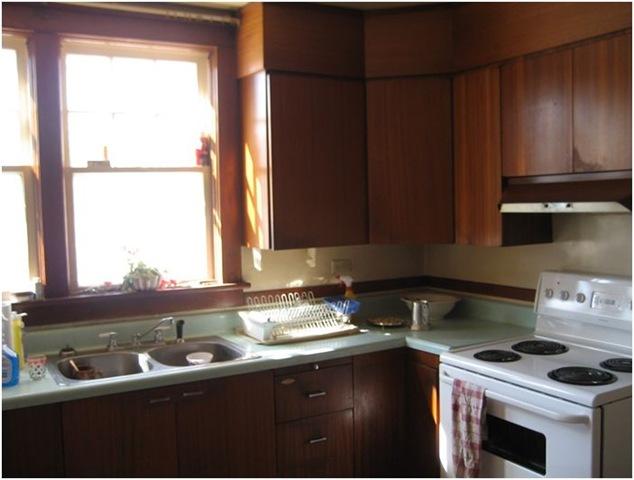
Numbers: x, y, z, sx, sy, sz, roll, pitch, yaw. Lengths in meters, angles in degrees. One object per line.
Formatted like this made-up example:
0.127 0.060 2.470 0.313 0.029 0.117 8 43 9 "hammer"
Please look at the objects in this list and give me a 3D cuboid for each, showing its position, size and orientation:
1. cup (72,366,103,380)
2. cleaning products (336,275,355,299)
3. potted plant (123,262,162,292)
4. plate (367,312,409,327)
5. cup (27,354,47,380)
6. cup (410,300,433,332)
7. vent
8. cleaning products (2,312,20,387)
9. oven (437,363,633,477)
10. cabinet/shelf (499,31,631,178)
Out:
-1.190 0.684 2.711 0.114 0.087 0.074 5 1 -38 "cup"
0.210 0.319 3.511 0.119 0.163 0.193 -5 8 -8 "cleaning products"
-1.014 0.226 3.081 0.161 0.127 0.170 1 -8 -2 "potted plant"
0.457 0.525 3.415 0.254 0.056 0.415 -4 8 5 "plate"
-1.379 0.622 2.570 0.079 0.068 0.151 -1 5 -5 "cup"
0.630 0.454 3.204 0.109 0.175 0.140 -1 8 21 "cup"
1.257 -0.226 2.684 0.110 0.145 0.645 -10 9 -38 "vent"
-1.449 0.513 2.446 0.075 0.297 0.228 -8 8 -30 "cleaning products"
1.105 0.768 2.438 0.443 0.459 0.669 2 -1 -28 "oven"
1.287 -0.696 2.654 0.251 0.726 0.766 -2 3 -42 "cabinet/shelf"
